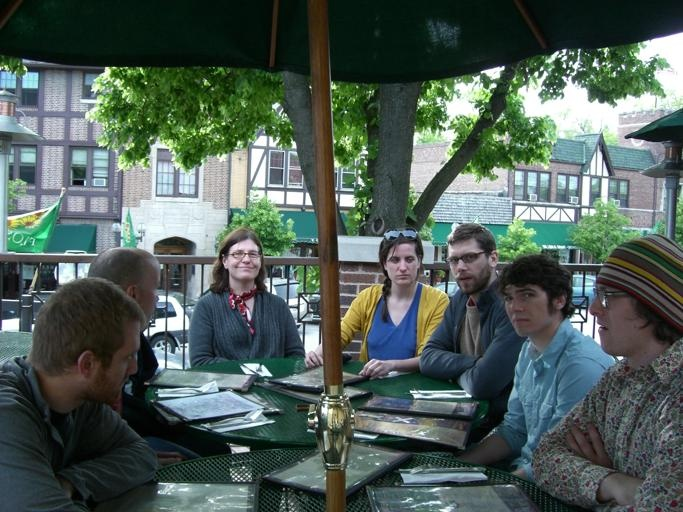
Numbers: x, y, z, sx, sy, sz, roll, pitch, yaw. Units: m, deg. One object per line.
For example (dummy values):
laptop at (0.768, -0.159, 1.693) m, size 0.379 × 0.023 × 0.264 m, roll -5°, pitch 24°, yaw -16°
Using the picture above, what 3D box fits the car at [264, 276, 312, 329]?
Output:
car at (-1.106, 0.889, 12.783) m, size 1.009 × 0.920 × 1.568 m, roll 0°, pitch -4°, yaw -10°
